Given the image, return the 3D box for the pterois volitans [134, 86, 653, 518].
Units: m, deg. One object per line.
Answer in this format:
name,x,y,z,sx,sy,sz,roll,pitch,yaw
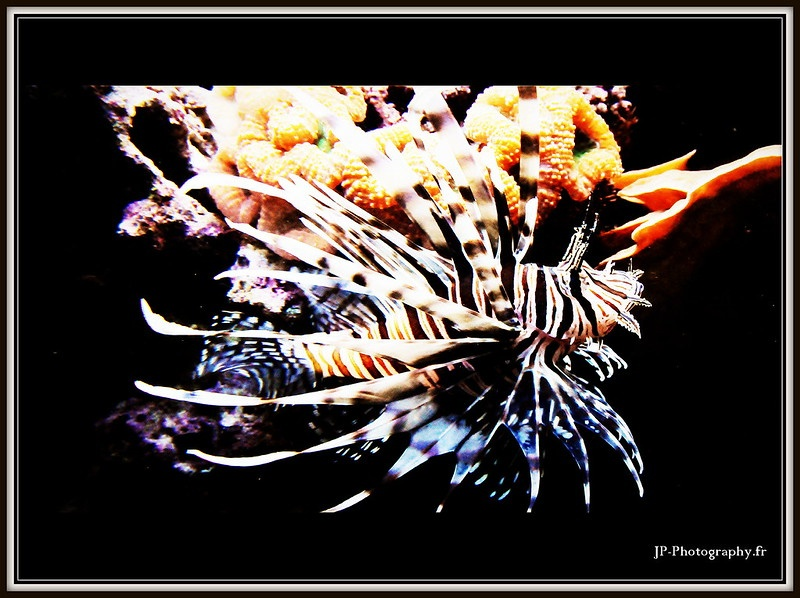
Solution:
pterois volitans,-0.024,-0.050,2.102,1.454,1.107,0.663,-3,18,-6
